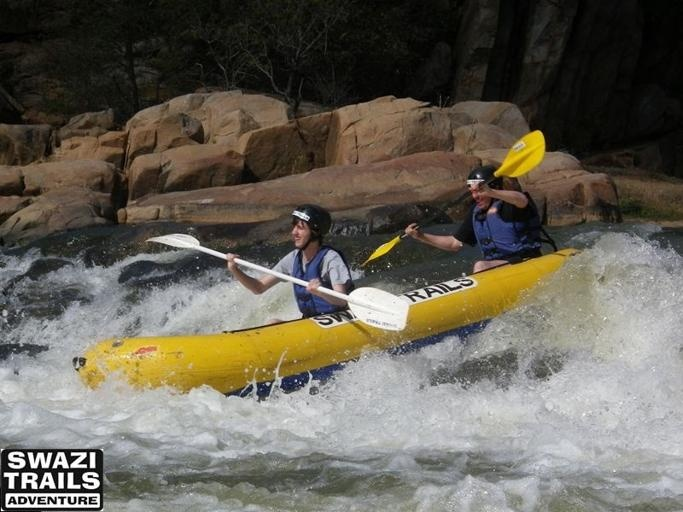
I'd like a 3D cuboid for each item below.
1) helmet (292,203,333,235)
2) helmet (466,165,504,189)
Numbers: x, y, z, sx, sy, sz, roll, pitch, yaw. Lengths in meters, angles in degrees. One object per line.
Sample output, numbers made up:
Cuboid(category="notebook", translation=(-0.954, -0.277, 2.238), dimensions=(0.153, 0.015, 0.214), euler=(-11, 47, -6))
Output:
Cuboid(category="helmet", translation=(-0.287, -0.357, 8.036), dimensions=(0.354, 0.294, 0.223), euler=(-3, 14, -38))
Cuboid(category="helmet", translation=(1.571, -0.877, 8.761), dimensions=(0.314, 0.224, 0.365), euler=(16, -1, 39))
